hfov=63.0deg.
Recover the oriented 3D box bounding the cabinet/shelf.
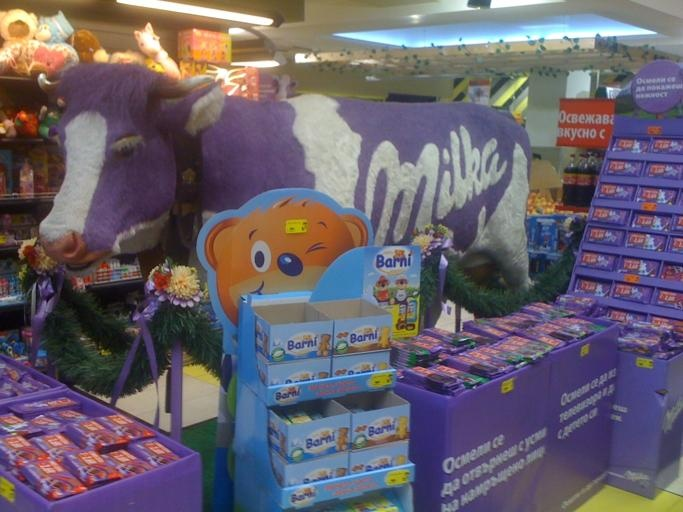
[{"bbox_3d":[-0.078,-0.132,5.629,5.499,3.222,2.118,-1,3,-38],"label":"cabinet/shelf"}]

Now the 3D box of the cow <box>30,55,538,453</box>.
[{"bbox_3d":[-0.432,-0.415,4.901,4.070,2.399,1.722,0,-1,-33],"label":"cow"}]
